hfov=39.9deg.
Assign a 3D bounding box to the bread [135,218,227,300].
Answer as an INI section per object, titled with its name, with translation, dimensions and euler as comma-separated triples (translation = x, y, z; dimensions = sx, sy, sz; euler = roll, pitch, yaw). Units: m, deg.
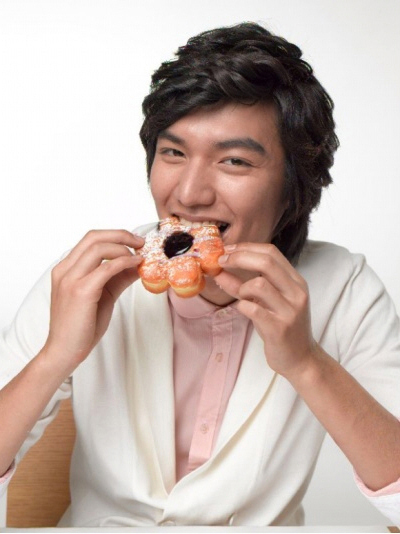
[bread]
translation = -0.039, -0.010, 1.726
dimensions = 0.271, 0.075, 0.229
euler = -30, 56, -12
